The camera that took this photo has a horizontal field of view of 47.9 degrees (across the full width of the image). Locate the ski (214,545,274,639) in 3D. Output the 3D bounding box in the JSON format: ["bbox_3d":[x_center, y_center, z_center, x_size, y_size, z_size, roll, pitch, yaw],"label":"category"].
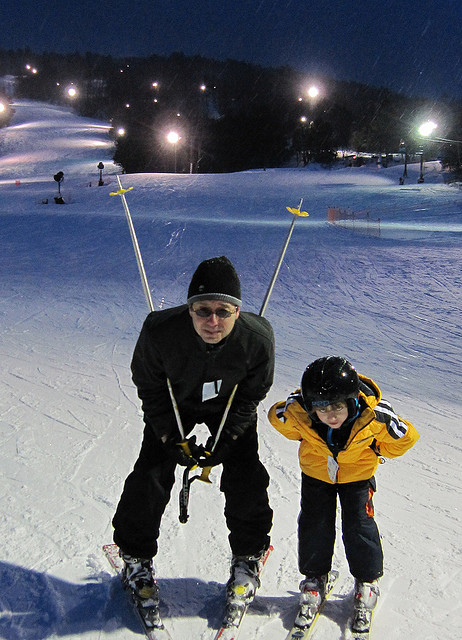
[{"bbox_3d":[0.103,1.350,2.762,0.105,0.071,0.901,24,26,7],"label":"ski"}]

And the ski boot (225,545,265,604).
[{"bbox_3d":[0.096,1.282,2.676,0.125,0.161,0.382,-3,9,10],"label":"ski boot"}]

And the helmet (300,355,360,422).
[{"bbox_3d":[0.495,0.334,2.543,0.299,0.332,0.363,-5,-2,32],"label":"helmet"}]

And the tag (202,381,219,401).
[{"bbox_3d":[-0.109,0.372,2.693,0.071,0.126,0.071,4,14,1],"label":"tag"}]

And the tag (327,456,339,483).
[{"bbox_3d":[0.497,0.725,2.526,0.014,0.113,0.107,-1,35,-16],"label":"tag"}]

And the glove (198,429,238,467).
[{"bbox_3d":[-0.064,0.651,2.675,0.180,0.179,0.182,4,14,1],"label":"glove"}]

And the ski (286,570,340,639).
[{"bbox_3d":[0.405,1.425,2.570,0.050,0.029,0.344,33,60,12],"label":"ski"}]

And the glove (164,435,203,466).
[{"bbox_3d":[-0.232,0.666,2.627,0.168,0.061,0.174,44,35,23],"label":"glove"}]

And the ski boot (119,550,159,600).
[{"bbox_3d":[-0.454,1.287,2.583,0.199,0.268,0.229,0,14,-12],"label":"ski boot"}]
